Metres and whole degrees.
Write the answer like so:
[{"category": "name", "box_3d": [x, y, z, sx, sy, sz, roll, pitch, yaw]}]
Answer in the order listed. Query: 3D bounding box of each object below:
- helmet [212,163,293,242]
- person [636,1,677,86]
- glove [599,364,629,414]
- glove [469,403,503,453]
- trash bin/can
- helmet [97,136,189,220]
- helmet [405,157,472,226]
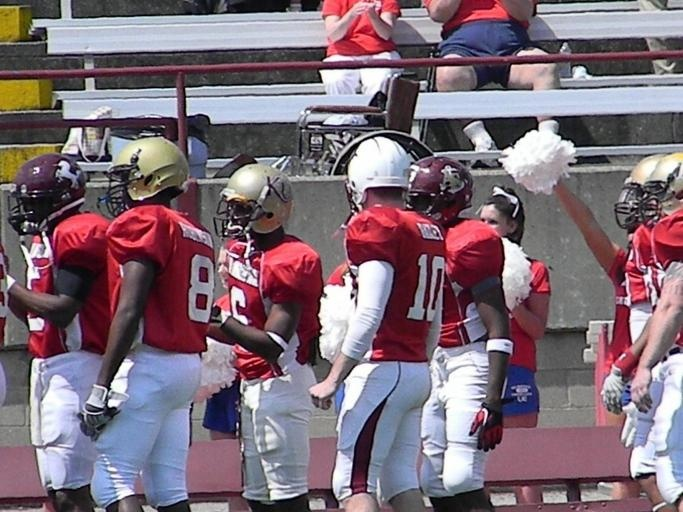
[{"category": "helmet", "box_3d": [-0.561, -0.400, 12.288, 0.481, 0.457, 0.283, -1, 17, -3]}, {"category": "person", "box_3d": [2.873, -1.973, 16.622, 0.288, 0.828, 0.316, -4, 21, -18]}, {"category": "glove", "box_3d": [1.883, 0.885, 12.618, 0.169, 0.356, 0.182, 2, 17, 8]}, {"category": "glove", "box_3d": [0.951, 1.102, 12.025, 0.198, 0.333, 0.162, 4, 18, 16]}, {"category": "trash bin/can", "box_3d": [-1.421, -0.926, 14.522, 0.765, 0.669, 0.462, 0, 6, -1]}, {"category": "helmet", "box_3d": [-1.282, -0.580, 12.098, 0.615, 0.475, 0.483, -7, 3, -10]}, {"category": "helmet", "box_3d": [0.668, -0.491, 12.336, 0.359, 0.483, 0.321, -5, 15, -29]}]
